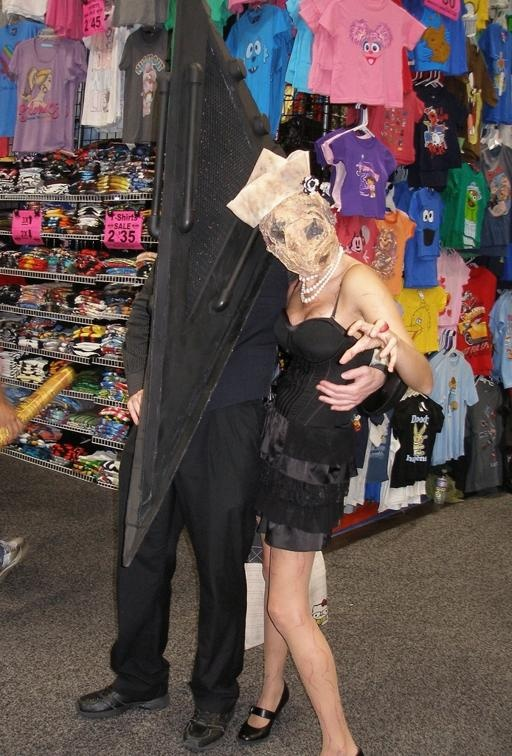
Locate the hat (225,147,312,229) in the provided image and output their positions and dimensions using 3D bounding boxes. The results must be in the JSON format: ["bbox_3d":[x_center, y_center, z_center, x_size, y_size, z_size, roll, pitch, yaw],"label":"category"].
[{"bbox_3d":[0.016,-0.319,0.950,0.118,0.169,0.049,38,-16,-35],"label":"hat"}]

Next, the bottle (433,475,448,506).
[{"bbox_3d":[1.272,0.745,3.833,0.171,0.208,0.073,-5,10,-43],"label":"bottle"}]

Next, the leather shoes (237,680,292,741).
[{"bbox_3d":[0.026,1.062,1.804,0.070,0.074,0.184,2,33,41],"label":"leather shoes"}]

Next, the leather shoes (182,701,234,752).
[{"bbox_3d":[-0.148,1.042,1.685,0.071,0.080,0.186,8,26,18],"label":"leather shoes"}]

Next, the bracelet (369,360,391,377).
[{"bbox_3d":[0.268,-0.020,1.224,0.038,0.015,0.029,37,0,-6],"label":"bracelet"}]

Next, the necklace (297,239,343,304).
[{"bbox_3d":[0.155,-0.255,1.410,0.101,0.042,0.137,-14,-26,-22],"label":"necklace"}]

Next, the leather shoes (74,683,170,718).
[{"bbox_3d":[-0.449,1.039,1.892,0.296,0.136,0.107,5,-3,-13],"label":"leather shoes"}]
